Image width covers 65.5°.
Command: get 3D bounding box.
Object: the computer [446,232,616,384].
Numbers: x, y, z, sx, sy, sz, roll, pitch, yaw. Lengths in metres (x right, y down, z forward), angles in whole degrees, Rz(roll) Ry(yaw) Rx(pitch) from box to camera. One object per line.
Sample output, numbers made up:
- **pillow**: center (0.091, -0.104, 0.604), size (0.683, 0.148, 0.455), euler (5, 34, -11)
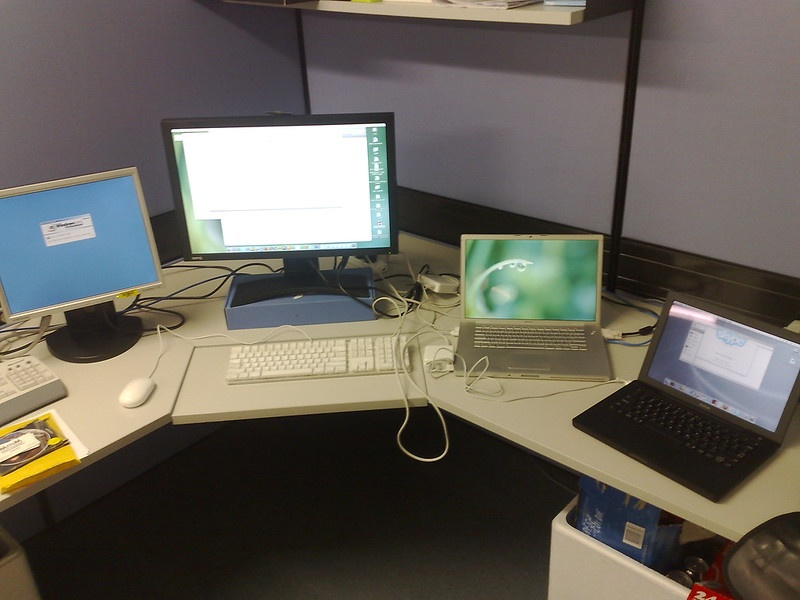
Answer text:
- **computer**: center (0.375, 0.049, 1.792), size (0.488, 0.286, 0.408), euler (1, 51, 6)
